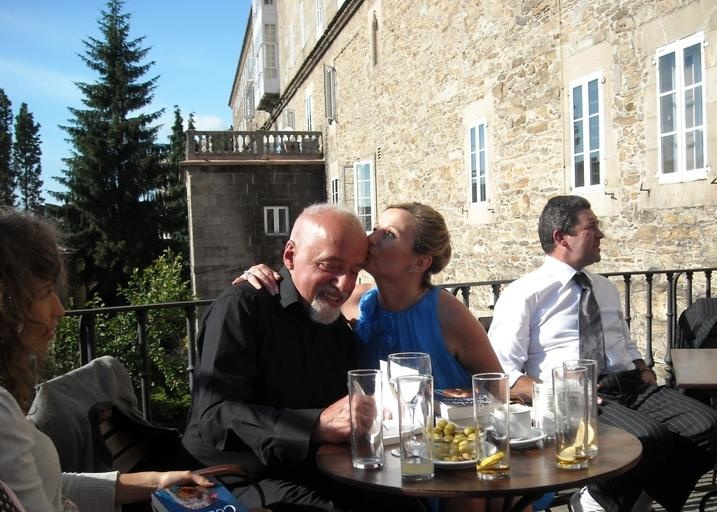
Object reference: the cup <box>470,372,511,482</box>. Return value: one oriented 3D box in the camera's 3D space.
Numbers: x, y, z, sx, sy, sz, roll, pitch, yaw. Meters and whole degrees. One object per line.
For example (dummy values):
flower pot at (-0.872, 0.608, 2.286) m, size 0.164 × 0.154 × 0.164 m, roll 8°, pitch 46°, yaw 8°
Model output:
cup at (0.630, 0.801, 3.247) m, size 0.164 × 0.467 × 0.171 m, roll -1°, pitch 2°, yaw 0°

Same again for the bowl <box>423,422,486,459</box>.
bowl at (0.490, 0.899, 3.364) m, size 0.237 × 0.129 × 0.246 m, roll 12°, pitch 1°, yaw 0°

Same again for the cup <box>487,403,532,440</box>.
cup at (0.741, 0.805, 3.316) m, size 0.224 × 0.190 × 0.183 m, roll -4°, pitch 1°, yaw 4°

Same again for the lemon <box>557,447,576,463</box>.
lemon at (0.991, 0.937, 3.241) m, size 0.059 × 0.043 × 0.065 m, roll 0°, pitch -5°, yaw -3°

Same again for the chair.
chair at (-1.262, 1.018, 4.051) m, size 0.876 × 1.298 × 0.826 m, roll -3°, pitch 6°, yaw 25°
